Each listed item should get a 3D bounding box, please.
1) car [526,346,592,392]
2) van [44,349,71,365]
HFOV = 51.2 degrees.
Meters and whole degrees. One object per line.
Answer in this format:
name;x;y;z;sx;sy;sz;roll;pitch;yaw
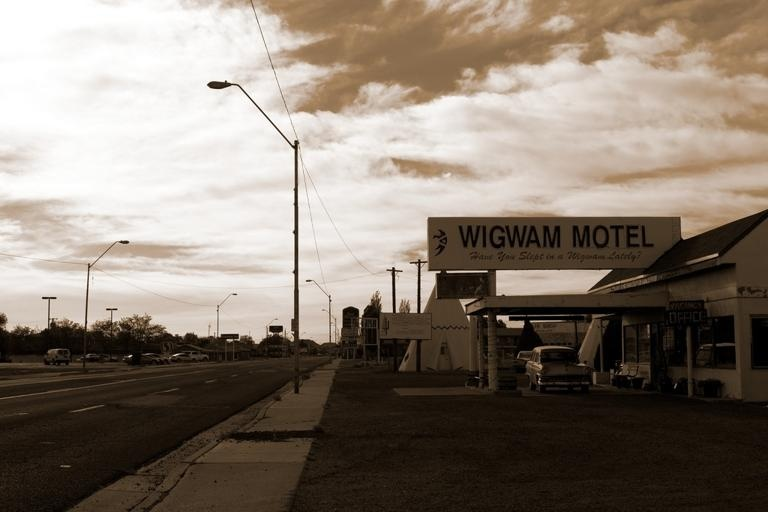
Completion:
car;7.849;5.102;36.198;2.197;2.077;2.946;2;-9;-9
van;-37.413;11.492;90.762;1.786;1.197;2.967;5;-4;-36
